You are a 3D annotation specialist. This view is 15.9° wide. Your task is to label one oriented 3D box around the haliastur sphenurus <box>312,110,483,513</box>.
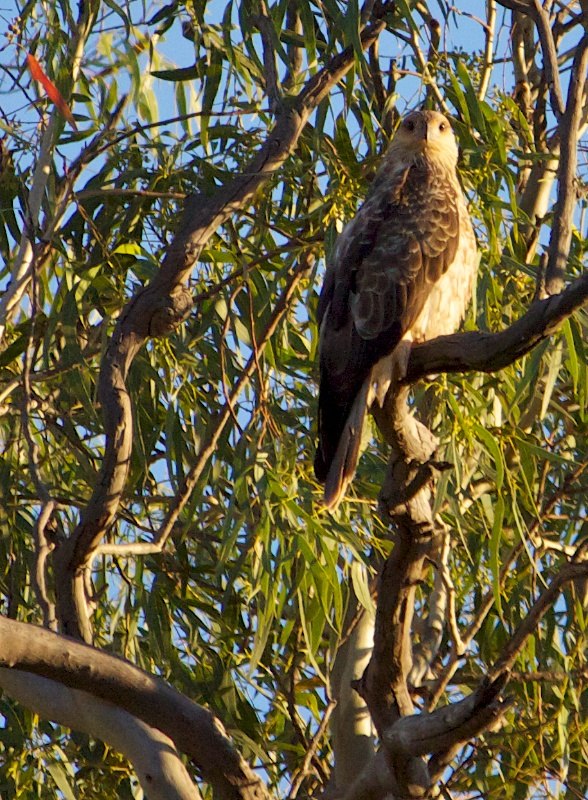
[{"bbox_3d":[0.251,-0.225,5.324,0.357,1.121,0.340,6,-28,-10],"label":"haliastur sphenurus"}]
